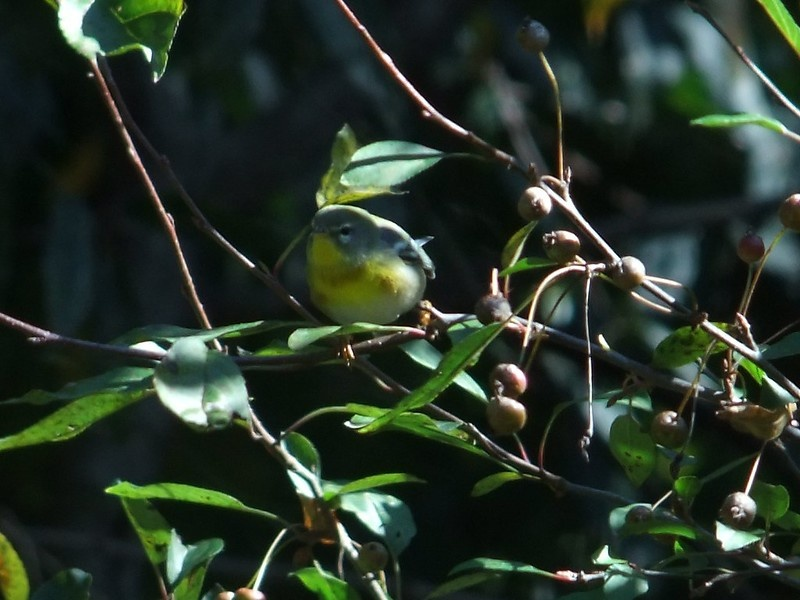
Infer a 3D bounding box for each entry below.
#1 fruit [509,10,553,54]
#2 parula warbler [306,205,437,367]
[{"bbox_3d":[0.344,-0.699,2.847,0.090,0.057,0.074,40,-26,-14],"label":"fruit"},{"bbox_3d":[-0.149,-0.103,3.246,0.279,0.385,0.490,-17,19,30],"label":"parula warbler"}]
